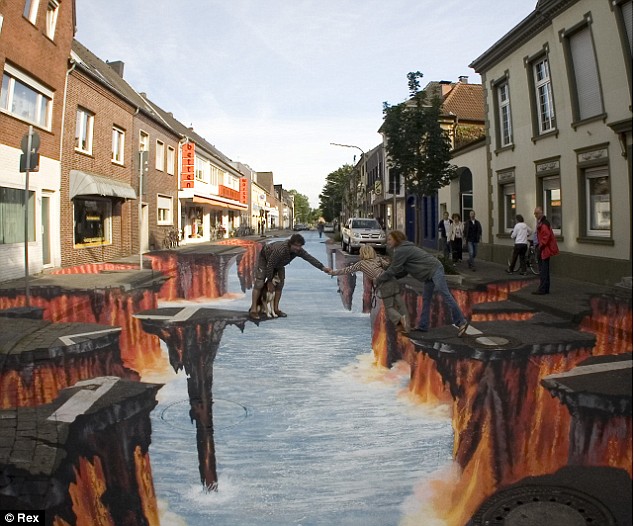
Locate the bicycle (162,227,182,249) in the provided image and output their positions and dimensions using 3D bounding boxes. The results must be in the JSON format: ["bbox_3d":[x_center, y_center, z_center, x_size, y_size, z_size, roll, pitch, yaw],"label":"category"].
[{"bbox_3d":[-8.637,-1.392,28.553,0.640,0.891,1.398,0,3,5],"label":"bicycle"}]

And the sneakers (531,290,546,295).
[{"bbox_3d":[4.966,0.651,10.804,0.319,0.146,0.114,3,1,26],"label":"sneakers"}]
